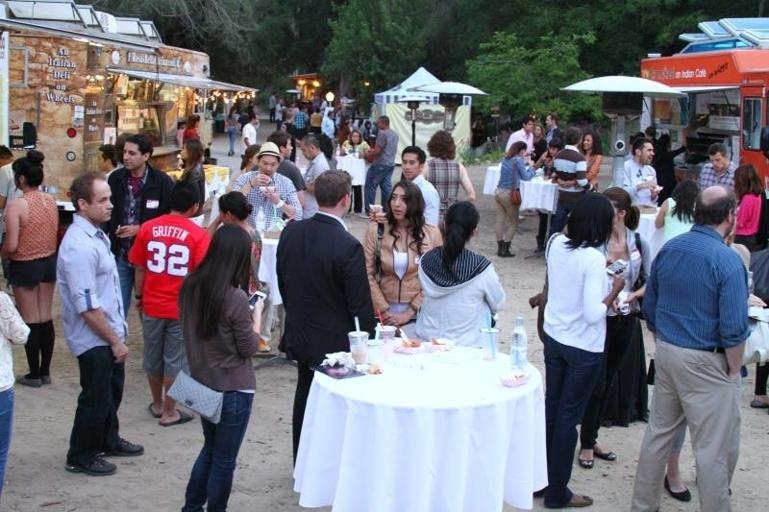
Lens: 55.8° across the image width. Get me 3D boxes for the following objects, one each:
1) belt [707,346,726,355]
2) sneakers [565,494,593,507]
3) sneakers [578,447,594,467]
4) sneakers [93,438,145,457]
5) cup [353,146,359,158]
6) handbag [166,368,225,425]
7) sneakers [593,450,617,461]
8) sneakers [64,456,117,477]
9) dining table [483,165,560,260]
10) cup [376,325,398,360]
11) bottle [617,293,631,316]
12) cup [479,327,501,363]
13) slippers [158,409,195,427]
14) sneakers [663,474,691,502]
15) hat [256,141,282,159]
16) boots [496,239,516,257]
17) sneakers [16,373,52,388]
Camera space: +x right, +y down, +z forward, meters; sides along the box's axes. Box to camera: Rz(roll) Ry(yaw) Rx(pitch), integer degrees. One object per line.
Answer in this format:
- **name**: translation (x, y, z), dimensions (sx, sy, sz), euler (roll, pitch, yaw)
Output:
- **belt**: translation (2.400, 0.680, 5.254), dimensions (0.077, 0.030, 0.060), euler (-2, 6, -23)
- **sneakers**: translation (1.525, 1.932, 5.697), dimensions (0.196, 0.081, 0.096), euler (-7, 14, -7)
- **sneakers**: translation (1.742, 1.719, 6.259), dimensions (0.138, 0.131, 0.215), euler (5, 16, 17)
- **sneakers**: translation (-2.244, 1.610, 6.136), dimensions (0.308, 0.154, 0.139), euler (-1, 4, -10)
- **cup**: translation (-0.620, -2.241, 15.865), dimensions (0.201, 0.246, 0.243), euler (0, -10, -3)
- **handbag**: translation (-1.342, 1.020, 5.160), dimensions (0.395, 0.335, 0.162), euler (8, 16, 26)
- **sneakers**: translation (1.911, 1.742, 6.306), dimensions (0.155, 0.046, 0.090), euler (4, 7, 21)
- **sneakers**: translation (-2.395, 1.713, 5.881), dimensions (0.346, 0.183, 0.176), euler (0, 5, -2)
- **dining table**: translation (2.409, -0.768, 12.402), dimensions (1.383, 1.329, 1.393), euler (2, 8, -6)
- **cup**: translation (-0.004, 0.636, 5.349), dimensions (0.200, 0.216, 0.205), euler (1, 7, 0)
- **bottle**: translation (1.979, 0.391, 6.036), dimensions (0.103, 0.206, 0.126), euler (3, -15, 3)
- **cup**: translation (0.819, 0.667, 5.566), dimensions (0.184, 0.279, 0.235), euler (1, 3, 17)
- **slippers**: translation (-1.935, 1.515, 6.744), dimensions (0.132, 0.105, 0.276), euler (5, 3, 41)
- **sneakers**: translation (2.373, 1.918, 5.990), dimensions (0.140, 0.119, 0.290), euler (-9, 15, -25)
- **hat**: translation (-1.306, -1.175, 8.139), dimensions (0.306, 0.155, 0.384), euler (2, -10, -8)
- **boots**: translation (2.011, -0.119, 12.149), dimensions (0.228, 0.278, 0.296), euler (7, 11, 42)
- **sneakers**: translation (-3.511, 1.246, 7.236), dimensions (0.252, 0.090, 0.148), euler (8, 6, 14)
